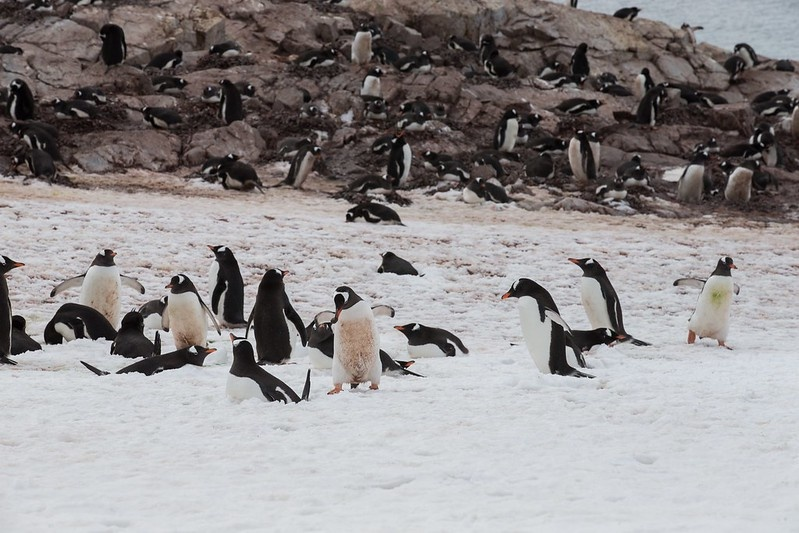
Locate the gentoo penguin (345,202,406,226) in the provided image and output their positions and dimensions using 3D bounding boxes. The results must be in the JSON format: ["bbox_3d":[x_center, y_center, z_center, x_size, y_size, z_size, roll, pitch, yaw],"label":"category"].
[{"bbox_3d":[-0.500,-1.018,23.874,1.412,0.391,0.394,1,8,0],"label":"gentoo penguin"}]

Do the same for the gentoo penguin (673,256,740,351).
[{"bbox_3d":[4.872,0.579,19.314,0.679,1.470,0.472,1,2,16],"label":"gentoo penguin"}]
